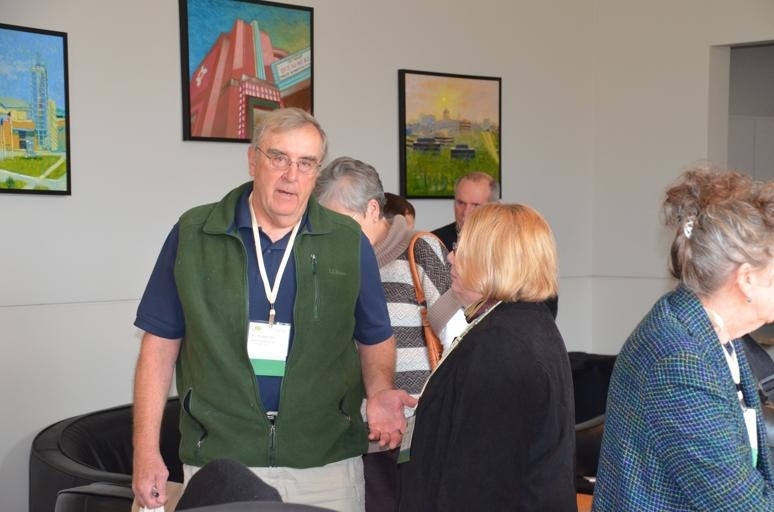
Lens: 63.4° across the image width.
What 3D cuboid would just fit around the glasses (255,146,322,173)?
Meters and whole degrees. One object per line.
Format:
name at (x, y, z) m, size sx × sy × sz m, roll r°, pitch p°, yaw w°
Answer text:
glasses at (-0.392, -0.370, 2.438) m, size 0.252 × 0.099 × 0.103 m, roll 2°, pitch 5°, yaw -7°

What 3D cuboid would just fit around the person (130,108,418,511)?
person at (-0.435, 0.206, 2.450) m, size 1.091 × 1.568 × 0.426 m, roll 1°, pitch 5°, yaw -14°

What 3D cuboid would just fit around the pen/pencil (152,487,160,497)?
pen/pencil at (-0.852, 0.869, 2.301) m, size 0.029 × 0.028 × 0.022 m, roll 18°, pitch -5°, yaw -15°
